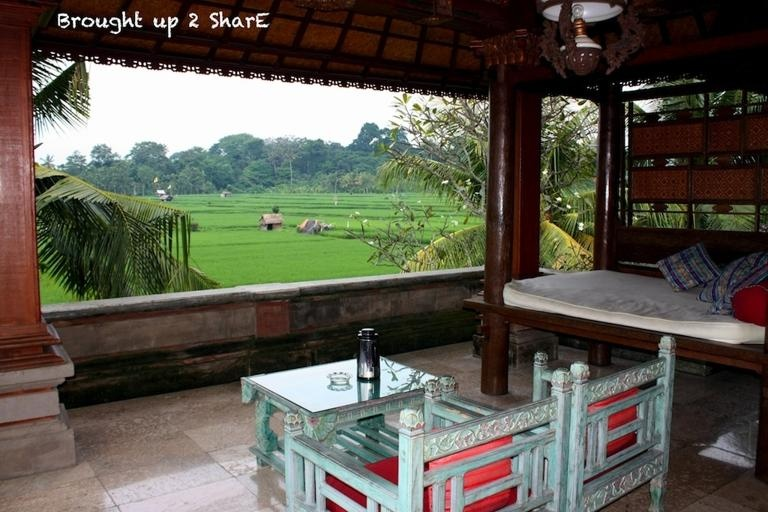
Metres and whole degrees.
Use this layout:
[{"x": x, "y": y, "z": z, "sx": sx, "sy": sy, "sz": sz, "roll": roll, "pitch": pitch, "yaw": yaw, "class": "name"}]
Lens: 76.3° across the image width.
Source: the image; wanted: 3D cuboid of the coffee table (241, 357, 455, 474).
[{"x": -0.361, "y": 0.996, "z": 3.471, "sx": 1.173, "sy": 0.588, "sz": 1.155, "roll": -2, "pitch": 3, "yaw": -34, "class": "coffee table"}]

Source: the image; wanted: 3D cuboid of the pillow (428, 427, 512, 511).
[{"x": 0.335, "y": 1.018, "z": 2.320, "sx": 0.409, "sy": 0.343, "sz": 0.094, "roll": -9, "pitch": 5, "yaw": -22, "class": "pillow"}]

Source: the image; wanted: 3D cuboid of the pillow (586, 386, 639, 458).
[{"x": 1.251, "y": 0.906, "z": 2.848, "sx": 0.414, "sy": 0.356, "sz": 0.160, "roll": 7, "pitch": 5, "yaw": -39, "class": "pillow"}]
